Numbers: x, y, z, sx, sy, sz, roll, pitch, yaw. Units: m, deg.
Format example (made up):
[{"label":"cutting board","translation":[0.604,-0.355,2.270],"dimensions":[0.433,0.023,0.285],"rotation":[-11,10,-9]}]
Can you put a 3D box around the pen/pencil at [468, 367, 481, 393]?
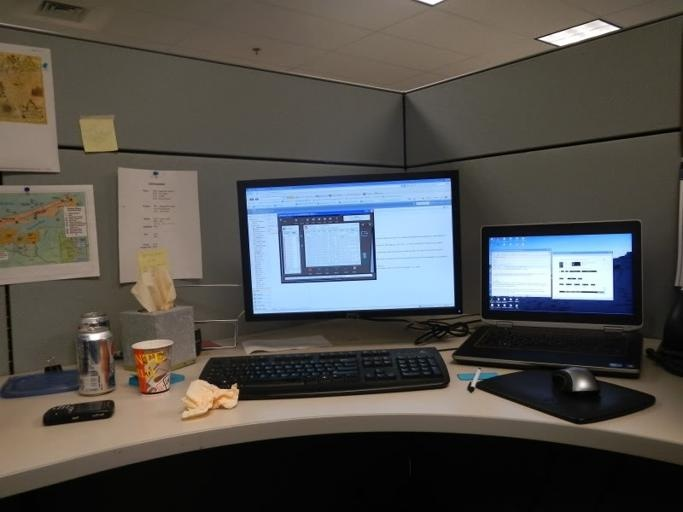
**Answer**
[{"label":"pen/pencil","translation":[0.299,0.268,1.227],"dimensions":[0.014,0.018,0.127],"rotation":[-5,12,20]}]

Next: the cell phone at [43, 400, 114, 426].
[{"label":"cell phone","translation":[-0.536,0.314,1.112],"dimensions":[0.092,0.016,0.055],"rotation":[-5,5,-9]}]

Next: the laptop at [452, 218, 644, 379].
[{"label":"laptop","translation":[0.542,0.079,1.389],"dimensions":[0.455,0.369,0.367],"rotation":[1,7,24]}]

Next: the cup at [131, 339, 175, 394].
[{"label":"cup","translation":[-0.416,0.243,1.223],"dimensions":[0.102,0.112,0.105],"rotation":[-2,-5,0]}]
